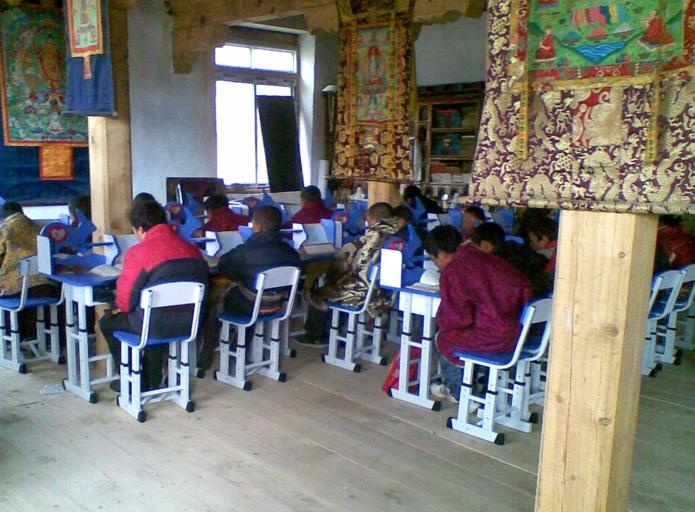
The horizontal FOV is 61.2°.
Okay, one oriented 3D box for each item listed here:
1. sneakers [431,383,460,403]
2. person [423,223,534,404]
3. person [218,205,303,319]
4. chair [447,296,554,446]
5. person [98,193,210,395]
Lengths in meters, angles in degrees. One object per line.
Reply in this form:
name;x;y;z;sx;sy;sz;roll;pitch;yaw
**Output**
sneakers;0.703;0.999;4.380;0.086;0.085;0.255;-24;30;-38
person;0.839;0.462;3.991;0.565;1.295;0.644;-1;8;-20
person;-0.677;0.036;4.558;0.631;0.830;0.484;6;9;31
chair;1.022;0.755;3.994;0.672;0.798;0.652;-3;-5;28
person;-1.340;0.336;4.112;0.635;1.431;0.779;-3;9;-31
